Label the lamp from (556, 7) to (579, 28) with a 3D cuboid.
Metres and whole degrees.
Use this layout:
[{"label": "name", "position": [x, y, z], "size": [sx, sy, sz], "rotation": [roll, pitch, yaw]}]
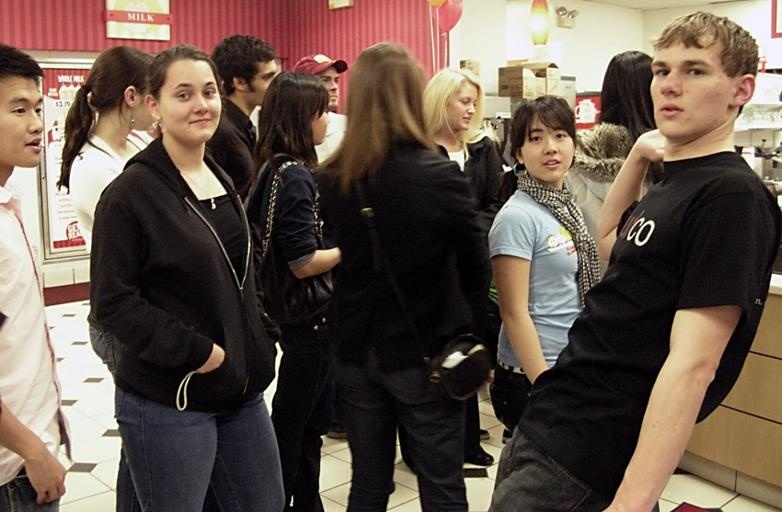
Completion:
[{"label": "lamp", "position": [2.894, -3.961, 9.577], "size": [0.465, 0.315, 0.192], "rotation": [-6, 9, -35]}]
